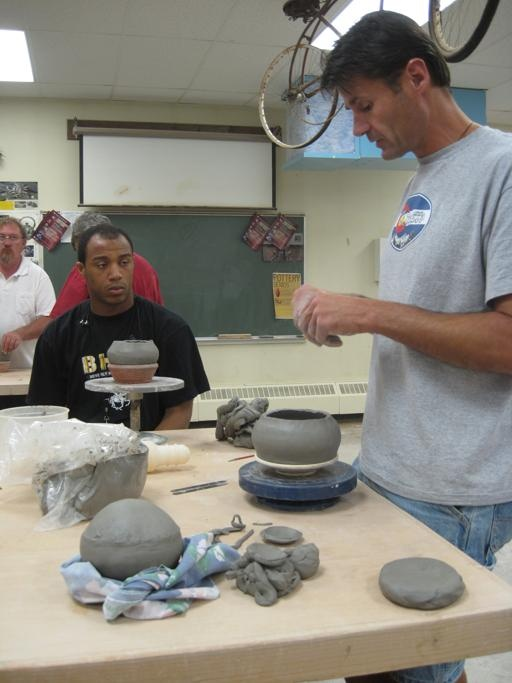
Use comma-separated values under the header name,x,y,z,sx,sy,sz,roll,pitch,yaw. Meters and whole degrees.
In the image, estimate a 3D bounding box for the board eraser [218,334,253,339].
name,x,y,z,sx,sy,sz,roll,pitch,yaw
board eraser,-0.166,-0.045,5.397,0.298,0.043,0.052,0,-10,-12
